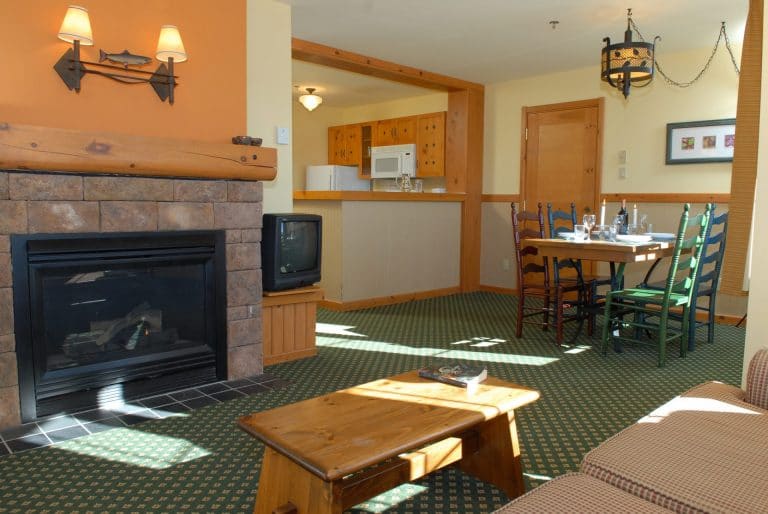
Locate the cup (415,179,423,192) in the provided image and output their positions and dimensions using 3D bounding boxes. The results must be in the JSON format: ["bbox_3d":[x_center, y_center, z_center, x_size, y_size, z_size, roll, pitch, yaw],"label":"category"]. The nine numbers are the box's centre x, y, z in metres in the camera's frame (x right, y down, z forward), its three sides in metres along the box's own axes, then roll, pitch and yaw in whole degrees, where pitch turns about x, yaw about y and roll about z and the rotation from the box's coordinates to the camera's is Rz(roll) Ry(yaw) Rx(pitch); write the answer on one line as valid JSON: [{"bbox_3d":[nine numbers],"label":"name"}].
[{"bbox_3d":[0.578,-1.216,8.388,0.152,0.178,0.091,-1,7,3],"label":"cup"}]

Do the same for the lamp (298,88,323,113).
[{"bbox_3d":[-1.079,-2.403,7.660,0.418,0.357,0.400,0,5,6],"label":"lamp"}]

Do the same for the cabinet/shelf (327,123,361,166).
[{"bbox_3d":[-0.701,-2.037,9.016,0.884,0.797,0.369,4,6,41],"label":"cabinet/shelf"}]

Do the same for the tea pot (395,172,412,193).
[{"bbox_3d":[0.332,-1.238,8.277,0.250,0.284,0.447,-2,6,0],"label":"tea pot"}]

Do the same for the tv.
[{"bbox_3d":[-0.800,-0.033,4.188,0.426,0.720,0.687,4,5,34],"label":"tv"}]

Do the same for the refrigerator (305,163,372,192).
[{"bbox_3d":[-0.839,-1.428,8.963,0.939,0.438,0.692,-7,8,-40],"label":"refrigerator"}]

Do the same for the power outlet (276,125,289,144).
[{"bbox_3d":[-0.913,-1.101,4.473,0.057,0.155,0.173,7,10,34],"label":"power outlet"}]
